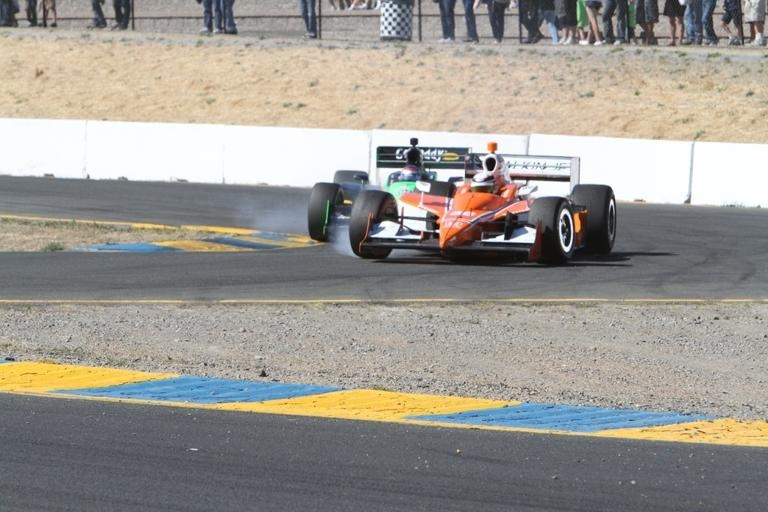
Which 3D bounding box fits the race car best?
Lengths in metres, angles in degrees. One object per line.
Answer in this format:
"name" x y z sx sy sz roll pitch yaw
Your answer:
"race car" 1.780 -1.113 29.297 3.059 2.362 7.177 1 4 10
